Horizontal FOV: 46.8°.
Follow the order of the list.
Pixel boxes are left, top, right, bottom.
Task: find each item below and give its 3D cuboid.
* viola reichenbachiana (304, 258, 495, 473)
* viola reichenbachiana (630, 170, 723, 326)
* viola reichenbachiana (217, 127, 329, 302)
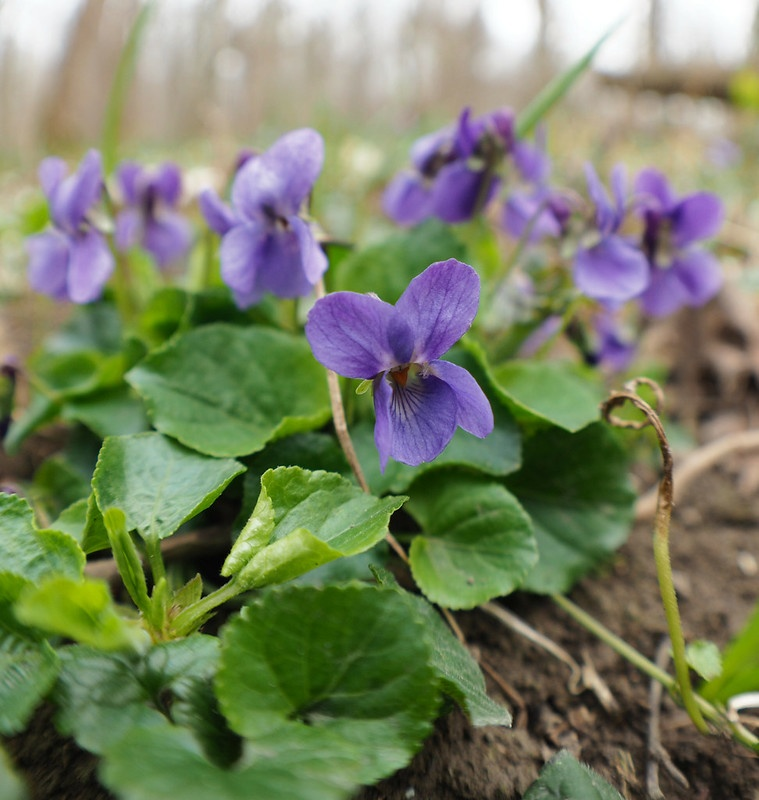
[{"bbox_3d":[0.034,-0.040,1.271,0.265,0.258,0.213,-26,33,-30],"label":"viola reichenbachiana"},{"bbox_3d":[0.503,-0.259,1.494,0.151,0.237,0.243,13,0,23],"label":"viola reichenbachiana"},{"bbox_3d":[-0.165,-0.299,1.458,0.248,0.210,0.089,24,32,-38],"label":"viola reichenbachiana"}]
